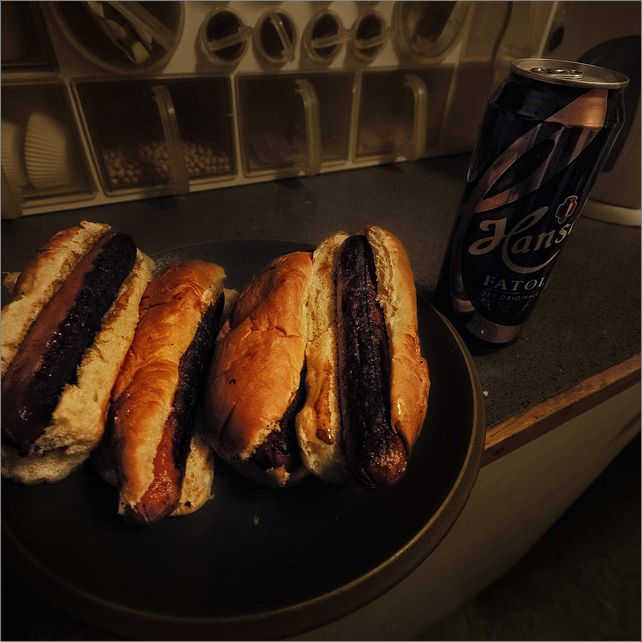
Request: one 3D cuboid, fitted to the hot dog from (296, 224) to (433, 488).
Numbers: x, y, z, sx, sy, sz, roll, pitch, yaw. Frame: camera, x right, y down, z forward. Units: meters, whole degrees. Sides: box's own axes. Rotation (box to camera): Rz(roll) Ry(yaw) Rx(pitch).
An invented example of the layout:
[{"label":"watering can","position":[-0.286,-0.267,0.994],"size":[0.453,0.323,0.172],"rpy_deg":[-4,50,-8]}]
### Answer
[{"label":"hot dog","position":[0.085,0.028,1.087],"size":[0.193,0.149,0.518],"rpy_deg":[7,63,-12]}]
